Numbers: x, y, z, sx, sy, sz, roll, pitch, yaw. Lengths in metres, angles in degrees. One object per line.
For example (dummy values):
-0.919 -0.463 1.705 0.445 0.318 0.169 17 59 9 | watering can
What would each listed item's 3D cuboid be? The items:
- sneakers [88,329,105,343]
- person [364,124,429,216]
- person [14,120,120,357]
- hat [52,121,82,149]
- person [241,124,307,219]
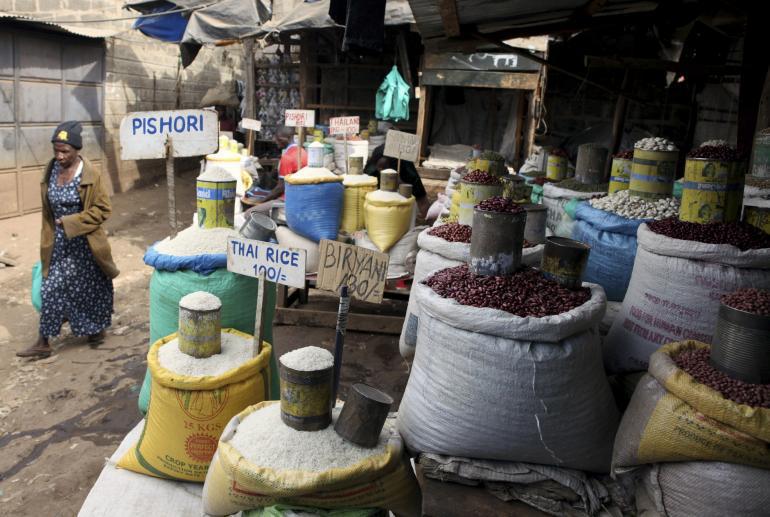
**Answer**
-2.996 0.789 5.652 0.077 0.096 0.224 7 23 -2 | sneakers
0.133 -0.974 6.956 0.924 0.951 1.247 3 16 3 | person
-3.115 -0.186 5.307 0.804 2.233 0.460 -9 20 -33 | person
-3.038 -1.182 5.244 0.216 0.274 0.386 1 16 -4 | hat
-1.489 -1.205 7.330 1.056 1.117 0.890 -2 25 2 | person
